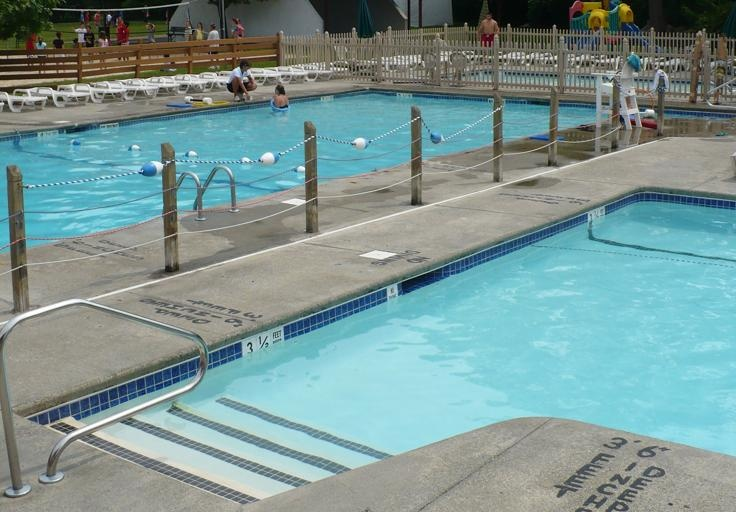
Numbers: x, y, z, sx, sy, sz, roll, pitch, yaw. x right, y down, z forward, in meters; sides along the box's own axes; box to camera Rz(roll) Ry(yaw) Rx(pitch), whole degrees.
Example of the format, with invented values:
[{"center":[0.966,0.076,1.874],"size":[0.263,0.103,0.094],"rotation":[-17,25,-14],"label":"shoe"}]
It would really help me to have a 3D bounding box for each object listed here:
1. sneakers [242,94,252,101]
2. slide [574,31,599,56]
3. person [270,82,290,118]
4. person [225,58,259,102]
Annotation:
[{"center":[-3.593,-4.707,22.604],"size":[0.250,0.282,0.217],"rotation":[-2,37,-12],"label":"sneakers"},{"center":[6.782,-6.538,23.303],"size":[0.694,0.475,2.155],"rotation":[2,16,15],"label":"slide"},{"center":[-2.536,-4.461,21.651],"size":[0.462,0.821,0.753],"rotation":[-6,18,-7],"label":"person"},{"center":[-3.873,-5.326,22.948],"size":[1.119,1.050,0.887],"rotation":[11,21,5],"label":"person"}]
